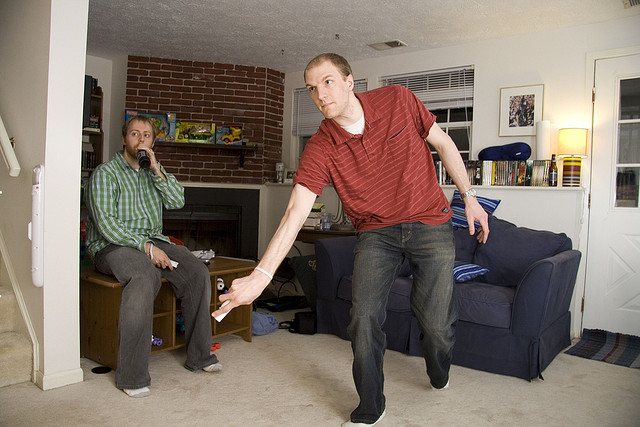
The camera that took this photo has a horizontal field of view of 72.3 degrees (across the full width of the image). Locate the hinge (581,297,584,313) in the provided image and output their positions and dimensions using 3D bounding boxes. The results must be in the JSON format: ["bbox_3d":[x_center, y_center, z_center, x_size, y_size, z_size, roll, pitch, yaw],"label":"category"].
[{"bbox_3d":[2.732,0.951,4.581,0.021,0.138,0.017,-1,7,-17],"label":"hinge"}]

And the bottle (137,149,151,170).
[{"bbox_3d":[-1.391,-0.440,3.468,0.099,0.137,0.079,-1,7,-16],"label":"bottle"}]

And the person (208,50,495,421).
[{"bbox_3d":[0.314,0.220,2.698,1.543,2.288,0.540,-2,8,-27],"label":"person"}]

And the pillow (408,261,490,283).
[{"bbox_3d":[0.973,0.437,3.277,0.296,0.095,0.309,-12,6,-30],"label":"pillow"}]

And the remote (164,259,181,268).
[{"bbox_3d":[-1.155,0.387,3.440,0.085,0.076,0.130,1,7,-2],"label":"remote"}]

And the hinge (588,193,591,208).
[{"bbox_3d":[2.791,-0.143,4.569,0.023,0.141,0.042,6,8,32],"label":"hinge"}]

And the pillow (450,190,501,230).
[{"bbox_3d":[1.575,-0.036,4.697,0.586,0.176,0.590,-5,39,8],"label":"pillow"}]

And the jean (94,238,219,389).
[{"bbox_3d":[-1.383,0.777,3.643,1.005,1.122,0.950,-10,-11,37],"label":"jean"}]

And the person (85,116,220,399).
[{"bbox_3d":[-1.326,0.241,3.435,0.718,1.988,0.853,-5,9,-42],"label":"person"}]

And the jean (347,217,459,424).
[{"bbox_3d":[0.538,0.668,2.843,0.791,1.288,0.284,-1,7,-18],"label":"jean"}]

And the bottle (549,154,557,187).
[{"bbox_3d":[2.436,-0.423,4.590,0.079,0.278,0.104,6,8,35],"label":"bottle"}]

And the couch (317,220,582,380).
[{"bbox_3d":[1.472,0.804,4.033,2.110,1.310,1.239,1,-5,33],"label":"couch"}]

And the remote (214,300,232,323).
[{"bbox_3d":[-0.431,0.419,1.944,0.028,0.107,0.113,37,-23,6],"label":"remote"}]
